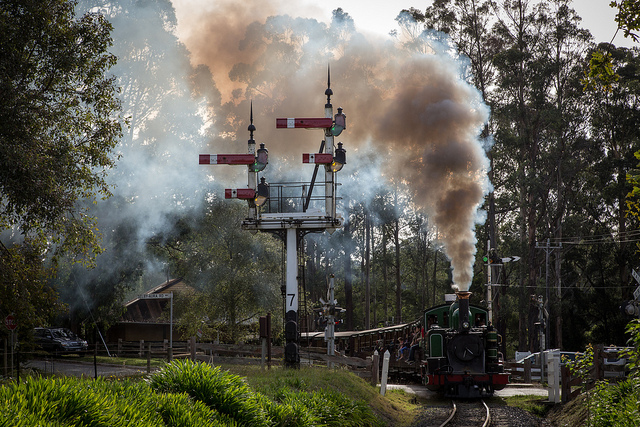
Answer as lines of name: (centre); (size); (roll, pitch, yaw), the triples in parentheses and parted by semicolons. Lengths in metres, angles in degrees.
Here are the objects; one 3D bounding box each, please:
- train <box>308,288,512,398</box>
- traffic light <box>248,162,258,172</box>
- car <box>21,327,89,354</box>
train: (4.677, 7.276, 48.503); (3.176, 4.825, 21.084); (4, -10, -9)
traffic light: (-2.940, -2.033, 39.825); (0.343, 0.396, 0.091); (1, 11, 12)
car: (-15.682, 7.660, 53.598); (4.328, 1.851, 1.948); (-5, -9, 36)
